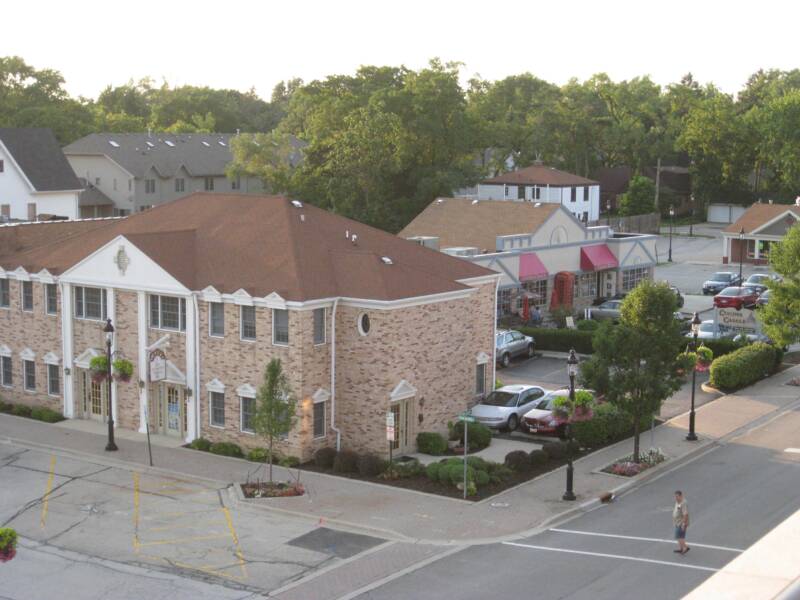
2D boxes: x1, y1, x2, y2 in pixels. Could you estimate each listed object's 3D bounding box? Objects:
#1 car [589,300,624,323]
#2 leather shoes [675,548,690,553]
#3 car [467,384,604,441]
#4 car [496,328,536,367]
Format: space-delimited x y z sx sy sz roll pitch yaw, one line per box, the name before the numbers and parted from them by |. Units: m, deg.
car | 13.935 0.522 117.036 3.175 1.063 1.450 4 8 26
leather shoes | 13.429 11.736 82.833 0.693 0.296 0.256 2 6 10
car | 6.515 5.859 95.815 4.487 2.342 2.638 5 6 2
car | 6.802 2.720 107.793 1.391 1.320 3.035 7 16 41
